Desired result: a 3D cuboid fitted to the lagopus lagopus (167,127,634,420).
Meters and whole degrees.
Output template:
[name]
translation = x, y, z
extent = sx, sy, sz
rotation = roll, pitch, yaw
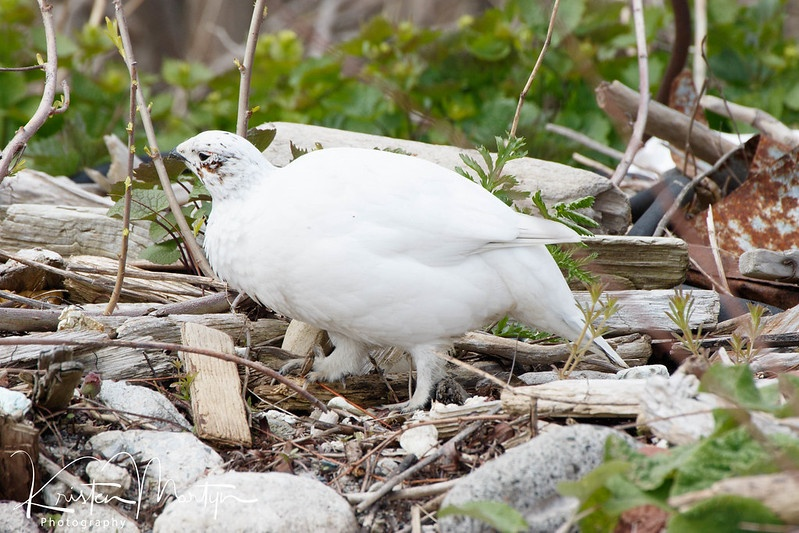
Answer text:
[lagopus lagopus]
translation = -0.014, 0.012, 2.523
extent = 1.350, 0.673, 0.601
rotation = -2, 6, -6
